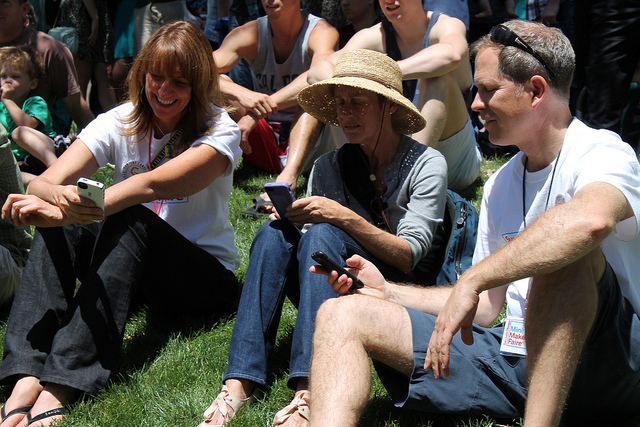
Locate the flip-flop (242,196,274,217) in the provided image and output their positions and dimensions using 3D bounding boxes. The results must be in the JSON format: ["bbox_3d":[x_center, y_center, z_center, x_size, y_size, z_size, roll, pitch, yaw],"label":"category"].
[{"bbox_3d":[-0.684,-0.069,5.813,0.508,0.257,0.180,2,1,40],"label":"flip-flop"}]

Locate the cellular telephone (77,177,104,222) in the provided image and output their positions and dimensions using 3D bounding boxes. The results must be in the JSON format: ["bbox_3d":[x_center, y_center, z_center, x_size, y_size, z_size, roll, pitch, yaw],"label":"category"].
[{"bbox_3d":[-1.463,-0.065,3.734,0.169,0.043,0.313,21,33,-37],"label":"cellular telephone"}]

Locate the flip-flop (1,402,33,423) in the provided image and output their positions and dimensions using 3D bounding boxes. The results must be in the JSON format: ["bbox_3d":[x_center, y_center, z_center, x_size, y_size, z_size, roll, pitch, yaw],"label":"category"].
[{"bbox_3d":[-1.816,1.188,3.510,0.186,0.082,0.071,2,14,0],"label":"flip-flop"}]
